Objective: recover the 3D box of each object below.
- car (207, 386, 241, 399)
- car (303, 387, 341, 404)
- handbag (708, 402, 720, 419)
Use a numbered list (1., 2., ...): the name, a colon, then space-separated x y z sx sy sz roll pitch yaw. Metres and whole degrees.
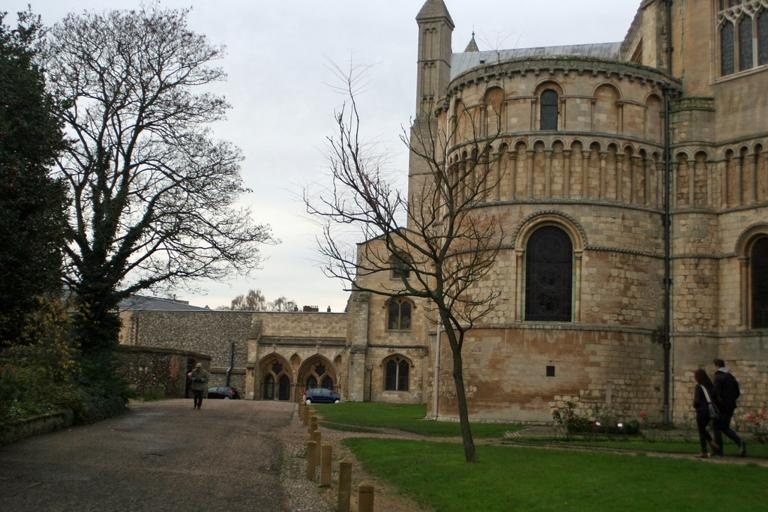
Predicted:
1. car: -11.959 10.070 60.080 1.912 0.797 1.071 5 -8 -4
2. car: -4.371 9.874 57.973 2.512 0.926 1.657 1 -11 -5
3. handbag: 9.771 4.565 24.067 0.188 0.454 0.460 -7 -14 33
